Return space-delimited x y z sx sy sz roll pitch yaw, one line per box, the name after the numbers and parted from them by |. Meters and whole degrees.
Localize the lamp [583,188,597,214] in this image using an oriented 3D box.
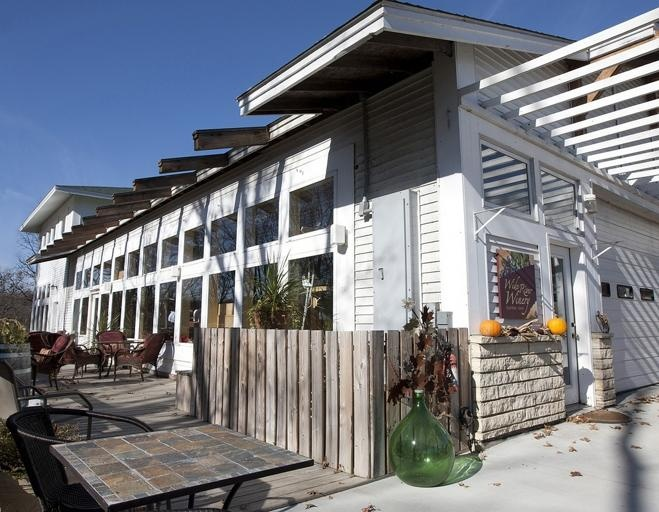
3.838 -0.789 7.340 0.170 0.281 0.130 0 -4 -7 | lamp

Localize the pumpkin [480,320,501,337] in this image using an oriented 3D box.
1.749 0.784 5.431 0.174 0.169 0.177 1 0 -7 | pumpkin

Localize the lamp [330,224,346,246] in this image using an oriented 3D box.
0.098 -0.296 6.887 0.202 0.281 0.213 -4 -5 40 | lamp

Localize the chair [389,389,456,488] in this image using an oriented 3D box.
0.815 1.641 4.482 0.538 0.763 0.564 -8 -14 25 | chair
